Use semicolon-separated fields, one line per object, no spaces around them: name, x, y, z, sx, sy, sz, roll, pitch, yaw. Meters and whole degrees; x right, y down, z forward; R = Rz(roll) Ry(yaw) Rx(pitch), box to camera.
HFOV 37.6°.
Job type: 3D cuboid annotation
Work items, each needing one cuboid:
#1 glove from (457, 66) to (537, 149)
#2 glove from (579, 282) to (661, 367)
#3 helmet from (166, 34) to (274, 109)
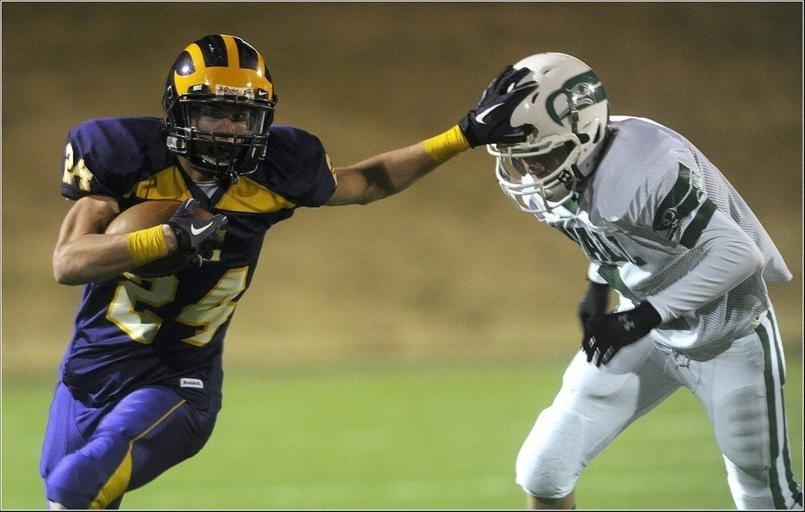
glove;0.497;-0.786;6.361;0.131;0.440;0.437;6;-50;-49
glove;1.160;0.354;6.410;0.409;0.442;0.235;17;16;-2
helmet;-0.965;-0.987;6.317;0.435;0.368;0.514;3;-2;-23
